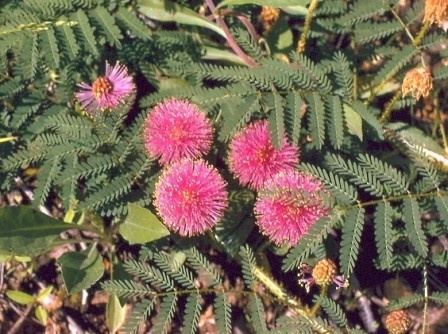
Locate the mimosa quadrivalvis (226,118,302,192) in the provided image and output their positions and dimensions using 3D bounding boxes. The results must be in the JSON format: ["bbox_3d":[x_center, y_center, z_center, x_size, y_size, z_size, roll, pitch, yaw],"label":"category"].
[{"bbox_3d":[0.164,-0.101,2.135,0.222,0.242,0.129,21,108,-7],"label":"mimosa quadrivalvis"}]

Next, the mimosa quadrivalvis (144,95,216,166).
[{"bbox_3d":[-0.172,-0.134,2.116,0.261,0.133,0.239,-12,76,-6],"label":"mimosa quadrivalvis"}]

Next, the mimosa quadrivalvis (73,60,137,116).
[{"bbox_3d":[-0.443,-0.288,2.134,0.220,0.111,0.219,-18,77,-8],"label":"mimosa quadrivalvis"}]

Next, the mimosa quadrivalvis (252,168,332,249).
[{"bbox_3d":[0.238,0.144,2.099,0.260,0.225,0.241,-38,80,-12],"label":"mimosa quadrivalvis"}]

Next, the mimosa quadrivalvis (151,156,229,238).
[{"bbox_3d":[-0.116,0.101,2.044,0.248,0.072,0.258,-22,78,-9],"label":"mimosa quadrivalvis"}]
